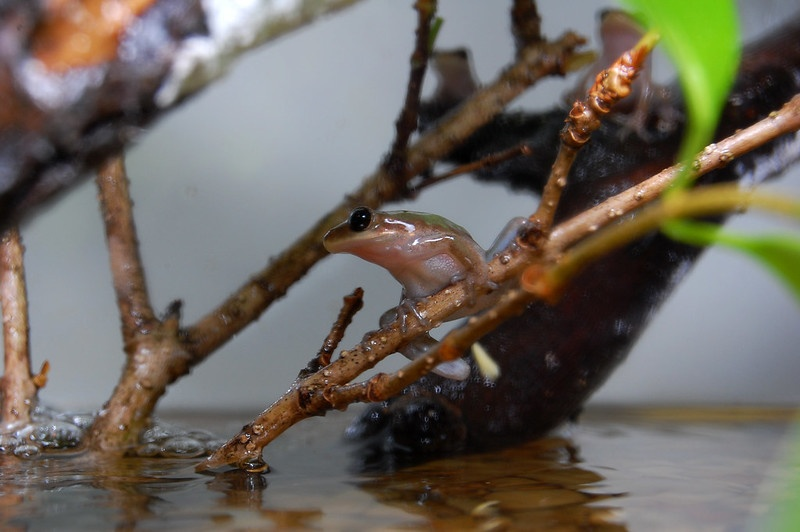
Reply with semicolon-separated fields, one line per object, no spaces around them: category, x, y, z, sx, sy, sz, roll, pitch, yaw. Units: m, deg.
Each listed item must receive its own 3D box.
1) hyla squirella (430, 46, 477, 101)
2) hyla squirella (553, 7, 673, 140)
hyla squirella;0.110;-0.377;1.914;0.089;0.082;0.103;-8;47;-27
hyla squirella;0.358;-0.323;1.710;0.243;0.275;0.106;1;19;42
